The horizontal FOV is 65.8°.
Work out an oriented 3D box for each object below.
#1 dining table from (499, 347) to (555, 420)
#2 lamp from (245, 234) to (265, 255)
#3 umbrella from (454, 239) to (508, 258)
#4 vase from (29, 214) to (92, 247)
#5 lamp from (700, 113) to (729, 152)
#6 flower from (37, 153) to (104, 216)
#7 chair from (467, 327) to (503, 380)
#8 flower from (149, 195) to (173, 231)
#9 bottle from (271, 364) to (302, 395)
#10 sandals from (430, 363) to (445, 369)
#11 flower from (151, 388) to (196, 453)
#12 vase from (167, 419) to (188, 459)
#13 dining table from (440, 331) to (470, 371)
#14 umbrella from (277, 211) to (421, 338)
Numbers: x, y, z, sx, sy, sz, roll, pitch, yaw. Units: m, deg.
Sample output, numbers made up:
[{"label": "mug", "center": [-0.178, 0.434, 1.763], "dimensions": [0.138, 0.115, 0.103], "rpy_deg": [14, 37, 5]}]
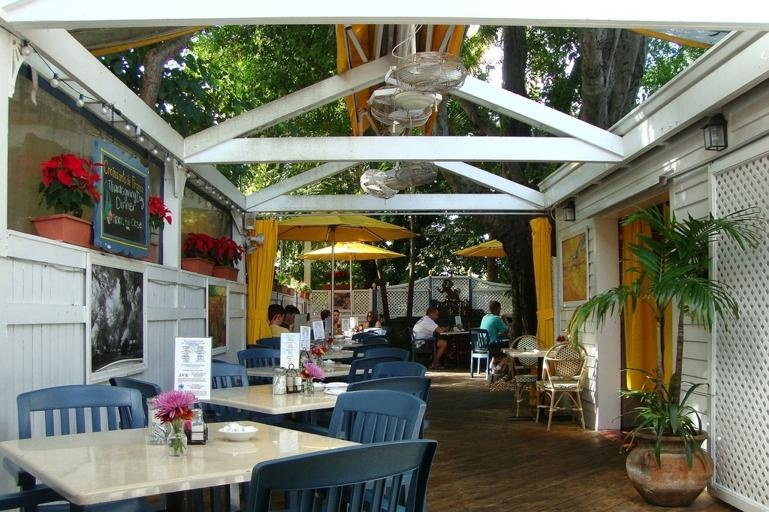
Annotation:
[{"label": "dining table", "center": [2.164, 1.772, 8.893], "dimensions": [0.696, 1.021, 0.749], "rpy_deg": [1, 1, 0]}, {"label": "lamp", "center": [-2.095, -0.190, 9.546], "dimensions": [0.320, 0.300, 0.148], "rpy_deg": [1, -1, -8]}, {"label": "umbrella", "center": [2.359, -0.221, 14.276], "dimensions": [0.955, 0.383, 1.210], "rpy_deg": [0, -3, 6]}, {"label": "vase", "center": [-2.435, -0.189, 4.564], "dimensions": [0.205, 0.127, 0.312], "rpy_deg": [-4, -9, 18]}, {"label": "lamp", "center": [2.921, -1.082, 5.282], "dimensions": [0.146, 0.340, 0.236], "rpy_deg": [1, -2, -1]}, {"label": "flower", "center": [-2.344, -0.538, 4.565], "dimensions": [0.489, 0.477, 0.484], "rpy_deg": [-4, 7, 32]}, {"label": "chair", "center": [2.354, 2.242, 13.736], "dimensions": [0.947, 1.270, 0.890], "rpy_deg": [3, -3, -26]}, {"label": "flower", "center": [-2.310, -0.438, 6.137], "dimensions": [0.330, 0.235, 0.319], "rpy_deg": [-6, 21, -22]}, {"label": "bottle", "center": [-0.756, 0.966, 4.606], "dimensions": [0.216, 0.226, 0.189], "rpy_deg": [0, -1, -8]}, {"label": "sandals", "center": [1.333, 2.760, 14.834], "dimensions": [0.390, 0.163, 0.139], "rpy_deg": [-3, -1, 10]}, {"label": "flower", "center": [-1.088, 0.857, 3.078], "dimensions": [0.278, 0.301, 0.262], "rpy_deg": [0, -9, -10]}, {"label": "vase", "center": [-1.068, 0.931, 3.055], "dimensions": [0.085, 0.170, 0.117], "rpy_deg": [1, -2, -20]}, {"label": "dining table", "center": [1.873, 2.486, 15.214], "dimensions": [0.893, 0.844, 0.893], "rpy_deg": [0, -5, 0]}, {"label": "umbrella", "center": [-0.761, 0.353, 10.146], "dimensions": [1.930, 1.181, 1.814], "rpy_deg": [-4, -12, 18]}]
